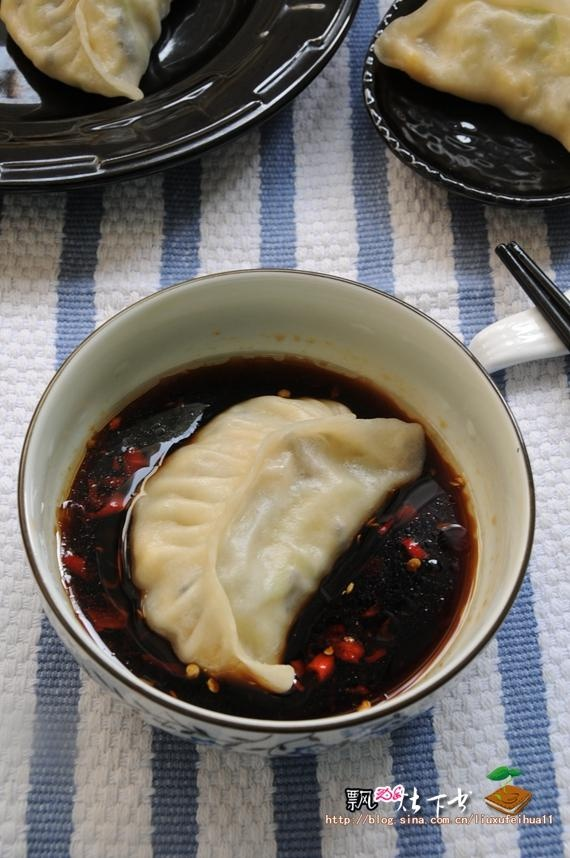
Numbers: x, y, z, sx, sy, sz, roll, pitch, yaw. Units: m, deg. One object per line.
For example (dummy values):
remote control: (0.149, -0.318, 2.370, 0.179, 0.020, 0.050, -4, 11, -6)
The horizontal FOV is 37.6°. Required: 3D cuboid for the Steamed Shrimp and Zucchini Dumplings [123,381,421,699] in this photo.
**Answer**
Steamed Shrimp and Zucchini Dumplings: (-0.027, 0.082, 0.895, 0.255, 0.169, 0.350, 31, 80, 7)
